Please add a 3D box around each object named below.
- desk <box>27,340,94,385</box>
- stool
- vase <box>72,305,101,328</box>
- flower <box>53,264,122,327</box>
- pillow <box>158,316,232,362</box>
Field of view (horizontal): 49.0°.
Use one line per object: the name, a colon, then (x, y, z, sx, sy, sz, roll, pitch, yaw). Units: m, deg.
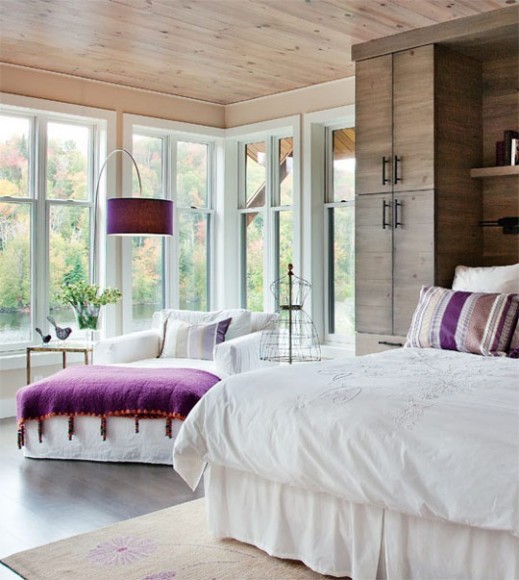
desk: (-1.568, 0.513, 4.430, 0.482, 0.400, 0.461, 0, -3, -10)
stool: (-0.901, 0.719, 3.438, 0.826, 0.265, 0.748, 0, -1, 8)
vase: (-1.317, 0.208, 4.385, 0.197, 0.148, 0.186, -1, -4, -2)
flower: (-1.356, 0.130, 4.467, 0.461, 0.382, 0.395, -2, -6, 21)
pillow: (-0.479, 0.390, 4.338, 0.384, 0.209, 0.097, 3, -24, 24)
